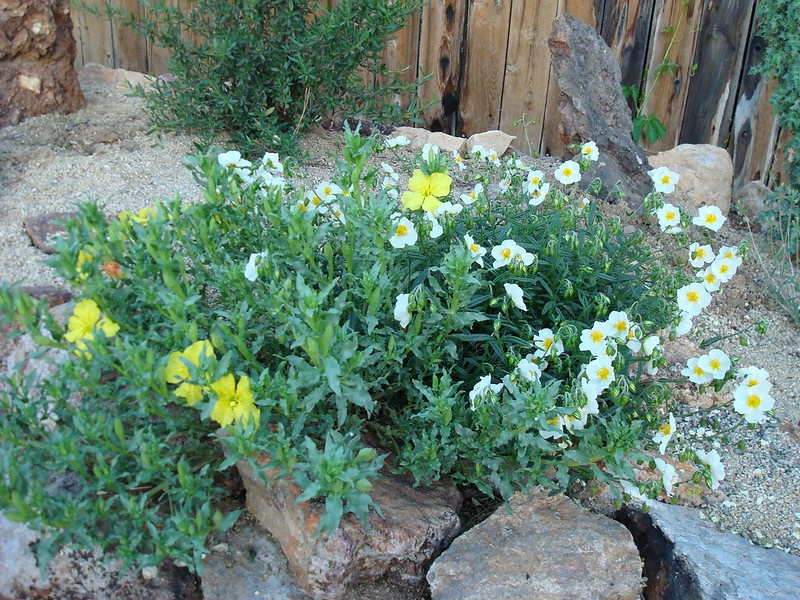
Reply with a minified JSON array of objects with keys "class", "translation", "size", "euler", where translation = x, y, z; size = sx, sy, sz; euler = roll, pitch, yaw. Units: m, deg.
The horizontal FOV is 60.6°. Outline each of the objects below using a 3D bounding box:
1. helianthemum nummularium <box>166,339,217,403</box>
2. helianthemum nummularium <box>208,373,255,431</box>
[{"class":"helianthemum nummularium","translation":[-0.676,0.237,2.293],"size":[0.182,0.205,0.058],"euler":[-20,-17,33]},{"class":"helianthemum nummularium","translation":[-0.542,0.331,2.258],"size":[0.158,0.172,0.059],"euler":[-25,12,6]}]
